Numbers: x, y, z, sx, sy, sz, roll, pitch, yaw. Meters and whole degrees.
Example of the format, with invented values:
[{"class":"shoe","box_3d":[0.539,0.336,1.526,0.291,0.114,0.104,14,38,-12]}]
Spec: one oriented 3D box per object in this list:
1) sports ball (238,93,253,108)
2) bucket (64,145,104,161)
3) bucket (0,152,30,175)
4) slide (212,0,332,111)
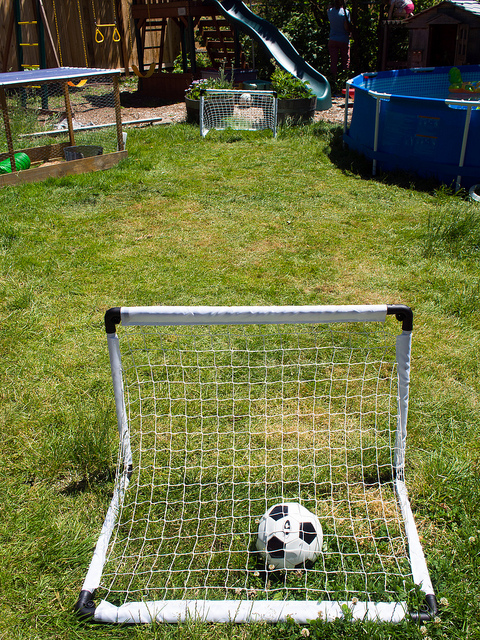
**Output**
[{"class":"sports ball","box_3d":[0.094,-3.824,11.545,0.252,0.258,0.479,-1,24,0]},{"class":"bucket","box_3d":[-2.158,-2.317,9.185,0.498,0.174,0.465,-1,24,0]},{"class":"bucket","box_3d":[-2.831,-1.973,8.378,0.256,0.261,0.400,17,35,9]},{"class":"slide","box_3d":[0.687,-5.575,13.846,1.646,2.131,3.460,-5,24,-10]}]
